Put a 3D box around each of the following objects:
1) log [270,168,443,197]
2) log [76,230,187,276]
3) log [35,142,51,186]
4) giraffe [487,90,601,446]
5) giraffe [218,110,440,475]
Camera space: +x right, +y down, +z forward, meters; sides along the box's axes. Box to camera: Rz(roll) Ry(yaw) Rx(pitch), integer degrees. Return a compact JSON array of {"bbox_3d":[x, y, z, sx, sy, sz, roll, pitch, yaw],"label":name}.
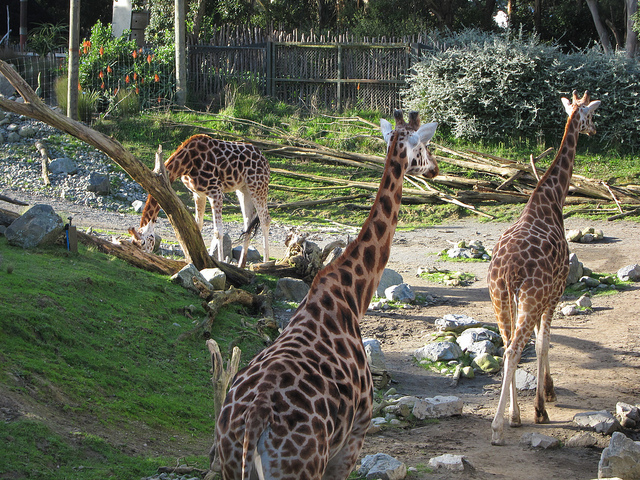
[{"bbox_3d":[1.015,-1.642,37.146,5.606,0.260,0.472,8,49,22],"label":"log"},{"bbox_3d":[-4.629,0.323,31.712,1.557,0.271,0.293,30,-2,-14],"label":"log"},{"bbox_3d":[-8.244,-2.360,38.924,0.289,0.356,3.124,15,27,-23],"label":"log"},{"bbox_3d":[4.792,0.718,29.298,1.243,7.338,2.853,8,9,42],"label":"giraffe"},{"bbox_3d":[0.119,1.020,26.888,4.429,7.389,1.809,-5,9,-44],"label":"giraffe"}]
